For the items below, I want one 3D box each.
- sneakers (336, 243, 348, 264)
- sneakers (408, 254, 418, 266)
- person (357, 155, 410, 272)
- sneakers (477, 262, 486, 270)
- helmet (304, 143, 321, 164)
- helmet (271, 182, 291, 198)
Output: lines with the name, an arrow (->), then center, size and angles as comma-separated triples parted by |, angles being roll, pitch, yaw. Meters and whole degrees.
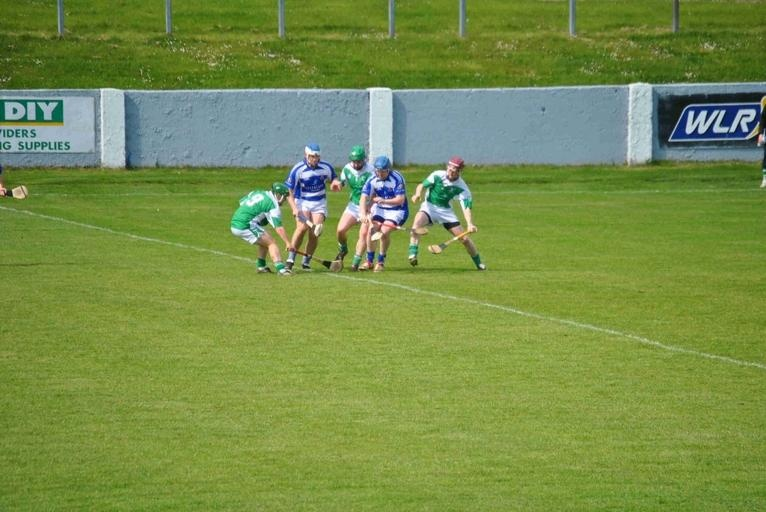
sneakers -> -1.109, -0.120, 44.474 | 0.206, 0.558, 0.254 | 15, 1, 23
sneakers -> 0.820, 0.089, 44.019 | 0.292, 0.236, 0.382 | -6, 1, 0
person -> 0.001, -1.142, 43.905 | 1.152, 2.960, 1.108 | 2, 11, 5
sneakers -> 2.636, 0.253, 43.917 | 0.146, 0.178, 0.167 | 0, 46, -1
helmet -> -1.859, -2.727, 44.084 | 0.363, 0.542, 0.582 | 0, 10, -5
helmet -> -2.643, -1.723, 43.010 | 0.451, 0.387, 0.341 | 42, 2, -20
